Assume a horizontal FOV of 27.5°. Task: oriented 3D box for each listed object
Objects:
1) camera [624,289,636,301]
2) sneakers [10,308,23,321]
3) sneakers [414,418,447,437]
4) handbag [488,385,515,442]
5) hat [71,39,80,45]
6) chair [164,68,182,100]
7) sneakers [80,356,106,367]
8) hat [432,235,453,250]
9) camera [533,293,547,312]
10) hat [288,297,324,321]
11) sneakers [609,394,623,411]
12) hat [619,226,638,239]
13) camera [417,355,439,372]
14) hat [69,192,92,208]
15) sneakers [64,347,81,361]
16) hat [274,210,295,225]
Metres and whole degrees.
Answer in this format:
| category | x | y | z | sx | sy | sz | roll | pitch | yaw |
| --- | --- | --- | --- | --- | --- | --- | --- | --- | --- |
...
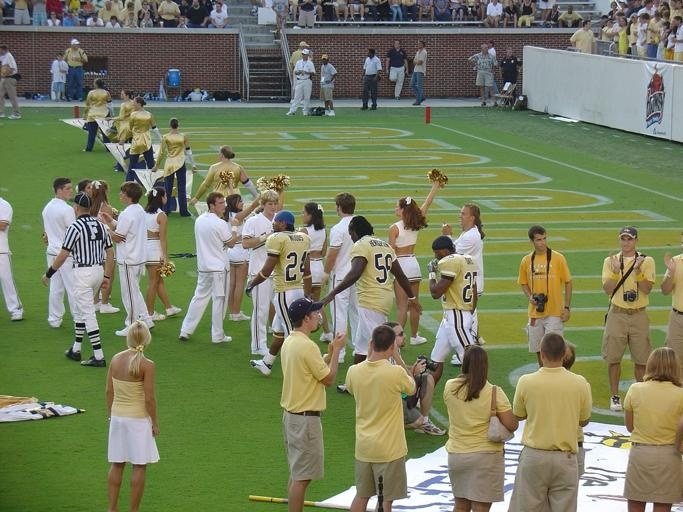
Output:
| category | x | y | z | sx | sy | sz | roll | pitch | yaw |
| --- | --- | --- | --- | --- | --- | --- | --- | --- | --- |
| camera | 4.553 | 0.604 | 21.942 | 0.127 | 0.170 | 0.060 | 0 | -3 | 10 |
| sneakers | -5.855 | 1.028 | 25.269 | 0.210 | 0.202 | 0.326 | -2 | 7 | -12 |
| sneakers | 1.369 | 2.617 | 21.621 | 0.530 | 0.254 | 0.205 | 3 | 6 | 7 |
| handbag | 2.159 | 2.125 | 18.916 | 0.315 | 0.748 | 0.196 | 2 | 8 | 18 |
| hat | -9.429 | -7.490 | 49.467 | 0.334 | 0.174 | 0.482 | -17 | 19 | -29 |
| chair | -6.497 | -6.642 | 54.334 | 0.776 | 1.151 | 0.782 | 2 | 10 | 6 |
| sneakers | -4.109 | 1.743 | 23.297 | 0.423 | 0.178 | 0.162 | 3 | 2 | 8 |
| hat | 1.622 | -0.210 | 22.242 | 0.276 | 0.270 | 0.216 | 7 | 1 | 28 |
| camera | 3.179 | 0.750 | 22.264 | 0.238 | 0.250 | 0.147 | 2 | -1 | -38 |
| hat | -0.512 | 0.732 | 19.550 | 0.415 | 0.230 | 0.268 | -31 | 18 | -5 |
| sneakers | 4.389 | 2.285 | 22.259 | 0.179 | 0.244 | 0.269 | 1 | 7 | 10 |
| hat | 4.564 | -0.402 | 22.040 | 0.256 | 0.194 | 0.383 | 2 | -11 | 24 |
| camera | 1.306 | 1.586 | 20.852 | 0.296 | 0.136 | 0.284 | 29 | 13 | 3 |
| hat | -4.273 | -0.912 | 23.119 | 0.285 | 0.249 | 0.388 | -2 | 7 | -11 |
| sneakers | -4.535 | 1.630 | 23.600 | 0.127 | 0.151 | 0.352 | -4 | 13 | -34 |
| hat | -0.913 | -0.617 | 22.571 | 0.287 | 0.154 | 0.203 | 14 | 21 | 19 |
